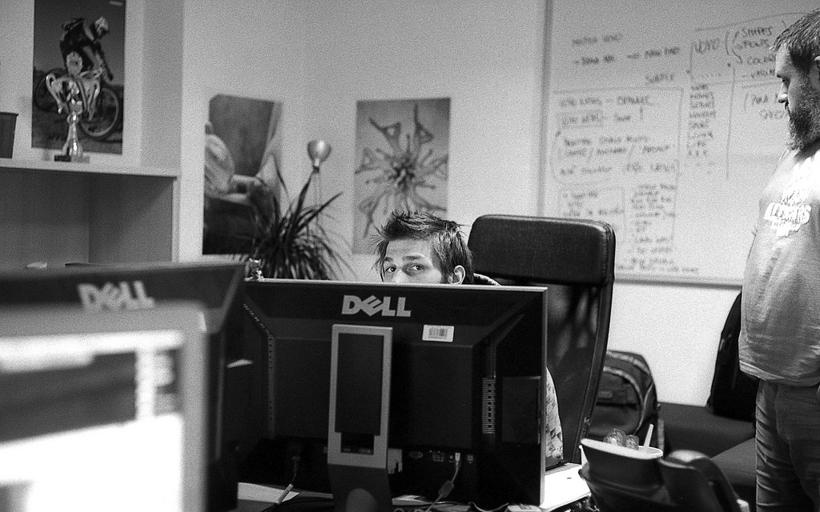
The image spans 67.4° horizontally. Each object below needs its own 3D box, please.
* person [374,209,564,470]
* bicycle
[{"bbox_3d":[0.265,0.212,2.183,0.631,0.924,0.766,0,-1,35],"label":"person"},{"bbox_3d":[-1.761,-0.824,3.322,0.121,0.427,0.379,11,12,32],"label":"bicycle"}]
